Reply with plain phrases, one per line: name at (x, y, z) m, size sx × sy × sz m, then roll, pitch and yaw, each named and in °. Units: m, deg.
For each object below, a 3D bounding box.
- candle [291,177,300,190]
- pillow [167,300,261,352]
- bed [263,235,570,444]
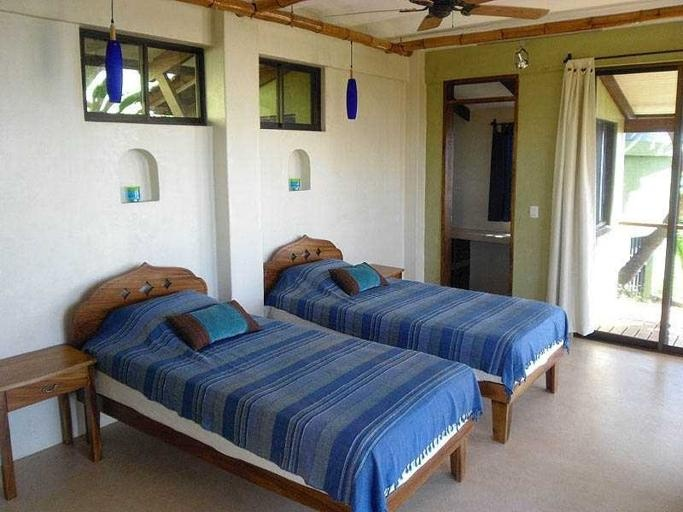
candle at (-0.488, -0.763, 5.536) m, size 0.110 × 0.114 × 0.118 m, roll -2°, pitch 9°, yaw -2°
pillow at (-1.011, 0.546, 4.209) m, size 0.468 × 0.202 × 0.700 m, roll 28°, pitch 25°, yaw 29°
bed at (0.584, 0.475, 4.906) m, size 2.551 × 1.233 × 1.496 m, roll 10°, pitch 17°, yaw 38°
